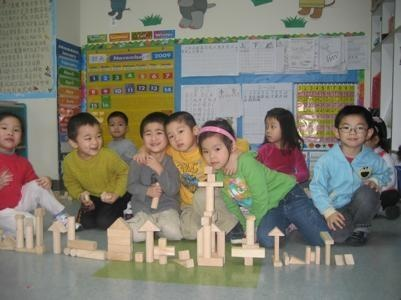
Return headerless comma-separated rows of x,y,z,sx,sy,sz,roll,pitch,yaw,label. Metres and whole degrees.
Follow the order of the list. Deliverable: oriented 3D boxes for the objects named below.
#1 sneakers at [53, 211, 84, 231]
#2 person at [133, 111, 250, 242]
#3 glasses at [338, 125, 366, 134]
-0.747,0.405,2.198,0.147,0.051,0.062,43,-33,-11,sneakers
-0.060,0.176,2.160,0.618,0.733,0.429,-7,2,4,person
0.831,-0.110,2.122,0.140,0.045,0.036,0,-1,22,glasses
